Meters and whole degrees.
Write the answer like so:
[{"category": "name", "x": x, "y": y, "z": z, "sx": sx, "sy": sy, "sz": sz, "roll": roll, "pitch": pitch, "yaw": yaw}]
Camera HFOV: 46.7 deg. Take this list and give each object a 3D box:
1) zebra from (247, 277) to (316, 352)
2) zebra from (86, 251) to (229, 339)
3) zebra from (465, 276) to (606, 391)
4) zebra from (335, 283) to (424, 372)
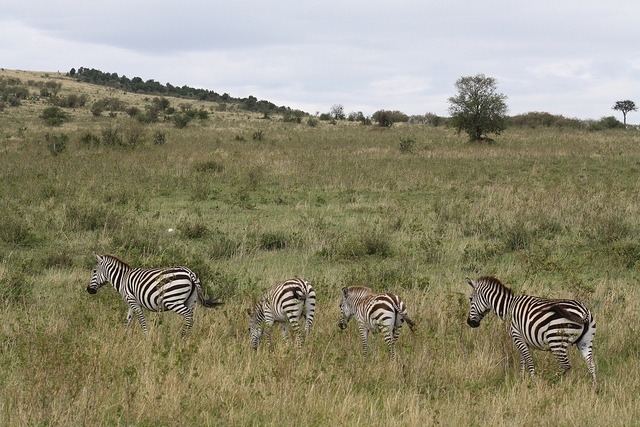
[{"category": "zebra", "x": -1.256, "y": 3.196, "z": 22.931, "sx": 0.966, "sy": 2.056, "sz": 3.348, "roll": 3, "pitch": -14, "yaw": -35}, {"category": "zebra", "x": -5.228, "y": 2.527, "z": 22.920, "sx": 4.077, "sy": 2.752, "sz": 1.428, "roll": -2, "pitch": 13, "yaw": 8}, {"category": "zebra", "x": 6.230, "y": 3.443, "z": 22.128, "sx": 1.253, "sy": 3.354, "sz": 4.119, "roll": -6, "pitch": 3, "yaw": -44}, {"category": "zebra", "x": 1.618, "y": 3.280, "z": 22.280, "sx": 0.838, "sy": 2.409, "sz": 3.165, "roll": 3, "pitch": -5, "yaw": -39}]
